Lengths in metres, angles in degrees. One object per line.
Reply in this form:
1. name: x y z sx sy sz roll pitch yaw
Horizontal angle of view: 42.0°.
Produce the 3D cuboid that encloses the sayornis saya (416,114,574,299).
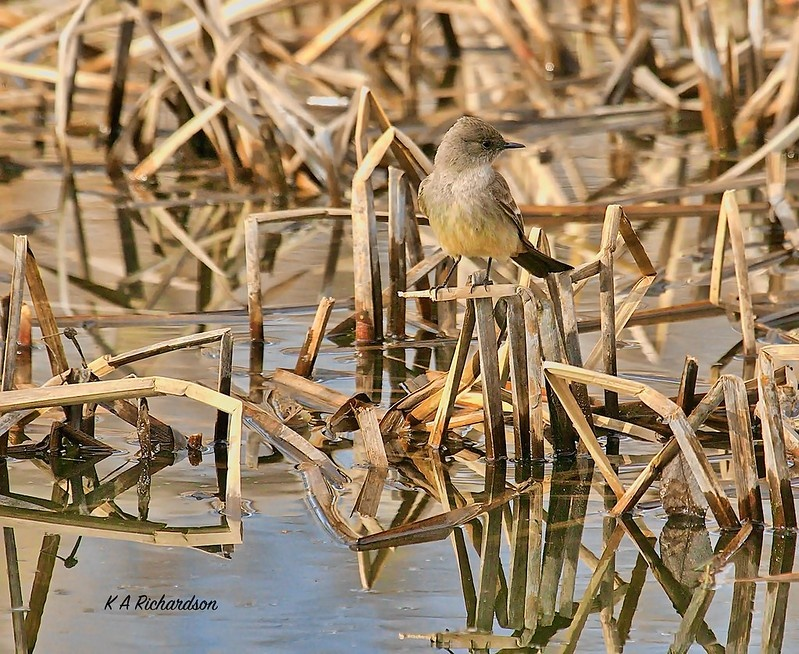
1. sayornis saya: 0.375 -0.608 4.717 0.496 0.821 0.597 1 -6 -14
